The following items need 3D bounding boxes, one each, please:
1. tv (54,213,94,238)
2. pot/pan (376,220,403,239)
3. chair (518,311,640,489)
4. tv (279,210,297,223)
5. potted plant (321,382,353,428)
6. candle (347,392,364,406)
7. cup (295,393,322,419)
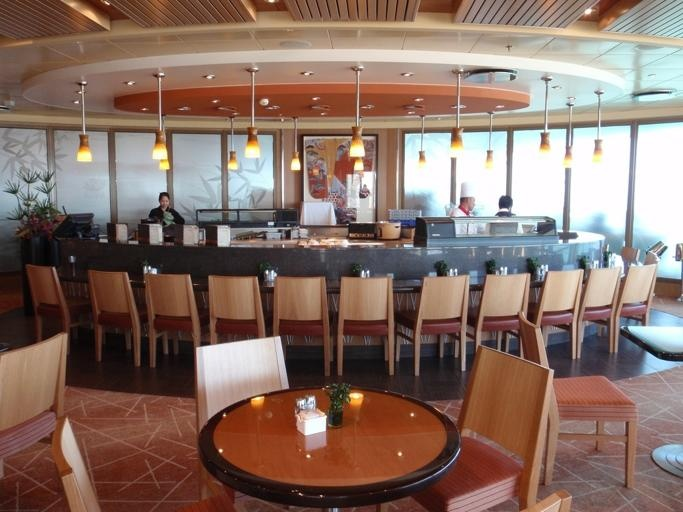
[{"bbox_3d":[-4.015,-0.455,7.888,0.331,0.342,0.545,10,13,42],"label":"tv"},{"bbox_3d":[0.795,-0.401,8.270,0.377,0.178,0.304,-4,7,-38],"label":"pot/pan"},{"bbox_3d":[1.759,1.095,4.046,0.895,0.943,0.693,7,2,2],"label":"chair"},{"bbox_3d":[-1.007,-0.735,9.660,0.366,0.249,0.344,-1,9,-7],"label":"tv"},{"bbox_3d":[-0.068,0.848,2.901,0.217,0.189,0.179,13,-18,-40],"label":"potted plant"},{"bbox_3d":[0.082,0.816,3.000,0.091,0.054,0.084,4,8,9],"label":"candle"},{"bbox_3d":[-0.187,0.839,2.900,0.197,0.121,0.092,1,10,-2],"label":"cup"}]
